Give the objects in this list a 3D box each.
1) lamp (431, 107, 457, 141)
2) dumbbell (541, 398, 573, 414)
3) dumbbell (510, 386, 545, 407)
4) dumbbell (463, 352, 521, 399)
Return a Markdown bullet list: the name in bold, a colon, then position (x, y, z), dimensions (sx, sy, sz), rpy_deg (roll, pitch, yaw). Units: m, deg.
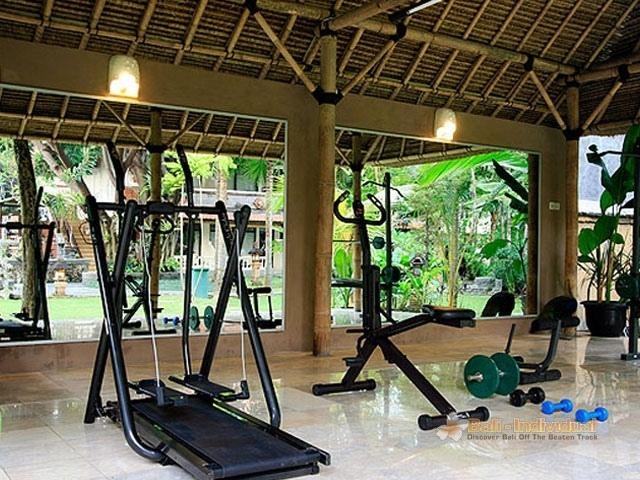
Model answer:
- **lamp**: position (1.827, -1.699, 7.939), dimensions (0.321, 0.402, 0.180), rpy_deg (-2, -1, -21)
- **dumbbell**: position (1.939, 1.354, 4.418), dimensions (0.262, 0.114, 0.201), rpy_deg (-2, -1, 7)
- **dumbbell**: position (1.758, 1.372, 4.577), dimensions (0.321, 0.153, 0.139), rpy_deg (0, -18, -37)
- **dumbbell**: position (1.467, 1.124, 4.677), dimensions (0.470, 0.399, 0.487), rpy_deg (1, 0, -43)
